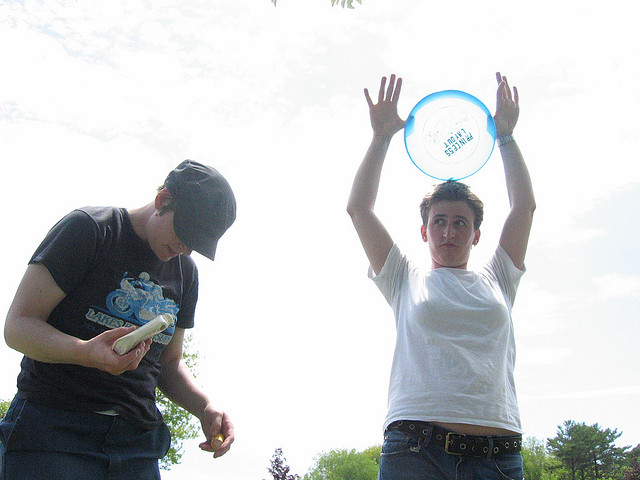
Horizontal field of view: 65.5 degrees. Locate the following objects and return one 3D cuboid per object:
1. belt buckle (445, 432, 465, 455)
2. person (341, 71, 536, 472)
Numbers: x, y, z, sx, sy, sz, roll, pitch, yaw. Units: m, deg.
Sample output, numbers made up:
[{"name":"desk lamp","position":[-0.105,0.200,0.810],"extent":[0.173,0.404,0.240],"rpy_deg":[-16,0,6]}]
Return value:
[{"name":"belt buckle","position":[0.854,1.303,3.190],"extent":[0.121,0.135,0.039],"rpy_deg":[5,1,5]},{"name":"person","position":[0.963,0.124,3.874],"extent":[1.467,3.060,0.796],"rpy_deg":[3,-34,1]}]
